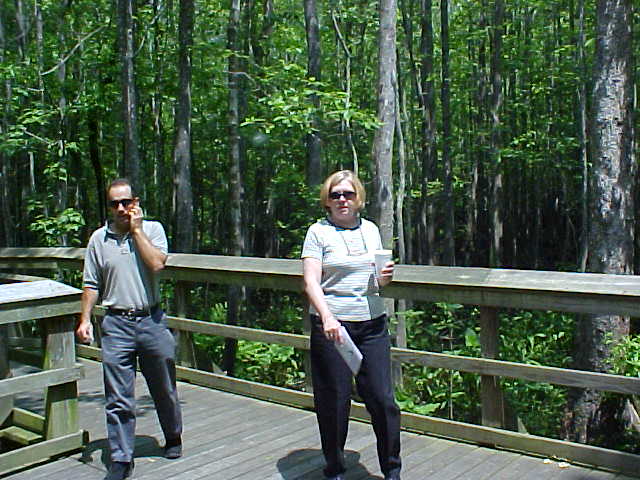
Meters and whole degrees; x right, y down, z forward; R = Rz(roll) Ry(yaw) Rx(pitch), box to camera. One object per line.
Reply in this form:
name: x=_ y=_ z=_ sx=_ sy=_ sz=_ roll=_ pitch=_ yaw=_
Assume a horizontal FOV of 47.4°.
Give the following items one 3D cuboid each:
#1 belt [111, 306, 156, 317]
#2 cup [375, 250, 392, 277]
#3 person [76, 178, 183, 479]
belt: x=-1.737 y=0.677 z=6.752 sx=0.459 sy=0.092 sz=0.088 roll=-2 pitch=3 yaw=-2
cup: x=0.531 y=0.193 z=6.131 sx=0.169 sy=0.203 sz=0.168 roll=2 pitch=13 yaw=0
person: x=-1.770 y=0.830 z=6.767 sx=0.881 sy=2.757 sz=0.379 roll=-2 pitch=3 yaw=-13
